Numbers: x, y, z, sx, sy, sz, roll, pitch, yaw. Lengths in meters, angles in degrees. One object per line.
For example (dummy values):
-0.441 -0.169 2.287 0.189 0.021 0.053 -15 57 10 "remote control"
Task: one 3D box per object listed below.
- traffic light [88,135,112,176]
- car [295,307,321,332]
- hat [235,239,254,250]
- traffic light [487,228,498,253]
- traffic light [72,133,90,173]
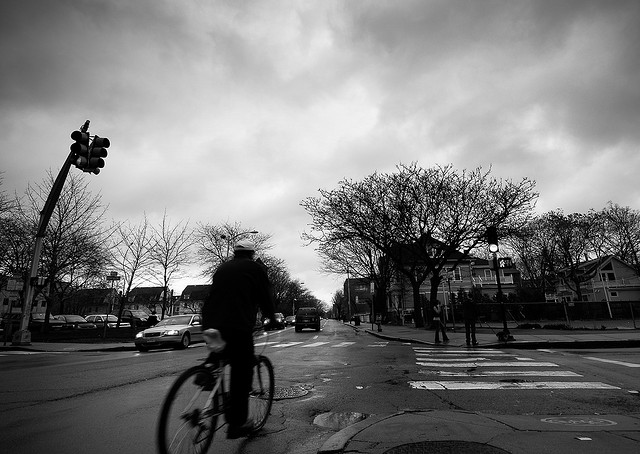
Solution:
-6.841 -2.190 12.580 0.504 1.210 0.750 10 -19 -40 "traffic light"
-1.046 8.014 35.381 2.291 2.086 2.015 0 -16 -11 "car"
-1.492 0.335 8.019 0.375 0.200 0.556 -2 -11 1 "hat"
7.033 0.544 16.534 0.344 0.924 0.940 -9 -17 21 "traffic light"
-7.299 -2.339 12.457 0.529 1.340 0.328 6 -17 -31 "traffic light"
